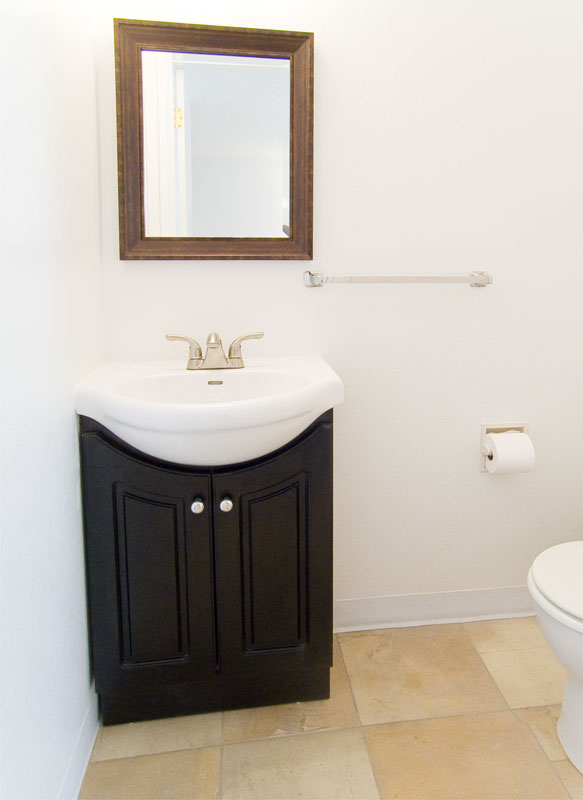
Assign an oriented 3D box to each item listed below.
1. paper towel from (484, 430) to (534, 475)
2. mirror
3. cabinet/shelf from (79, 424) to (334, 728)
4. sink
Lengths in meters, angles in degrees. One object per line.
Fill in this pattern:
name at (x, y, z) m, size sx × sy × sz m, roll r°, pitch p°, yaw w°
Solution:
paper towel at (0.605, 0.146, 1.951) m, size 0.140 × 0.123 × 0.148 m, roll 0°, pitch 14°, yaw -1°
mirror at (-0.204, -0.651, 1.706) m, size 0.491 × 0.644 × 0.030 m, roll -1°, pitch 8°, yaw -12°
cabinet/shelf at (-0.190, 0.304, 1.698) m, size 0.532 × 0.843 × 0.392 m, roll -2°, pitch 20°, yaw -7°
sink at (-0.175, 0.028, 1.575) m, size 0.558 × 0.179 × 0.463 m, roll -2°, pitch 14°, yaw -9°
